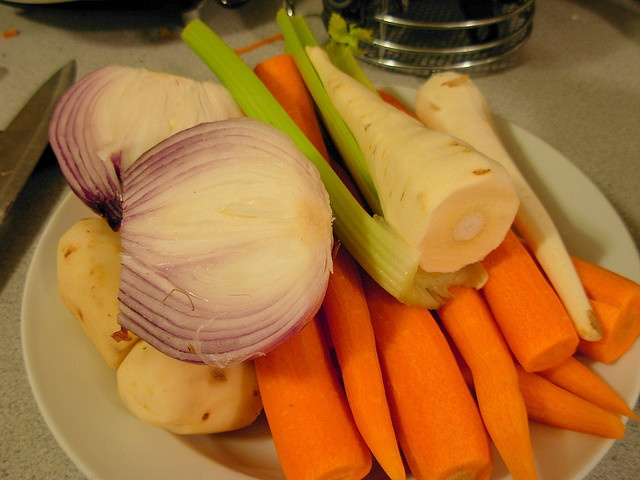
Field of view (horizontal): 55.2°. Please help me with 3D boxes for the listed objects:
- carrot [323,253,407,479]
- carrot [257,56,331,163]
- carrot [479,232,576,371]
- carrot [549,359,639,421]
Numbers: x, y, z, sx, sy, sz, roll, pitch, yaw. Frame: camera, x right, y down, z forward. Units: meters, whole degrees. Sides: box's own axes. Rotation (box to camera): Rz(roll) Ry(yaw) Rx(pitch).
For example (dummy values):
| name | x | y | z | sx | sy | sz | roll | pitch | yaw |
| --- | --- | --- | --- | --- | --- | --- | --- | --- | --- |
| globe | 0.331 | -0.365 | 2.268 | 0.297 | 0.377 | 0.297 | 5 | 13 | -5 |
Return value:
| name | x | y | z | sx | sy | sz | roll | pitch | yaw |
| --- | --- | --- | --- | --- | --- | --- | --- | --- | --- |
| carrot | 0.064 | 0.196 | 1.015 | 0.082 | 0.074 | 0.419 | -22 | 73 | 23 |
| carrot | -0.044 | -0.272 | 1.165 | 0.086 | 0.075 | 0.291 | -24 | 41 | -14 |
| carrot | 0.350 | 0.111 | 1.027 | 0.094 | 0.089 | 0.204 | -21 | 44 | 7 |
| carrot | 0.436 | 0.241 | 0.981 | 0.123 | 0.033 | 0.032 | 36 | 49 | 15 |
